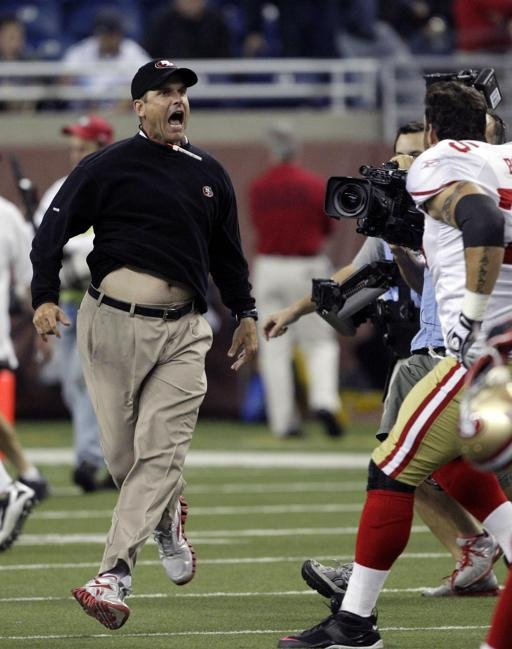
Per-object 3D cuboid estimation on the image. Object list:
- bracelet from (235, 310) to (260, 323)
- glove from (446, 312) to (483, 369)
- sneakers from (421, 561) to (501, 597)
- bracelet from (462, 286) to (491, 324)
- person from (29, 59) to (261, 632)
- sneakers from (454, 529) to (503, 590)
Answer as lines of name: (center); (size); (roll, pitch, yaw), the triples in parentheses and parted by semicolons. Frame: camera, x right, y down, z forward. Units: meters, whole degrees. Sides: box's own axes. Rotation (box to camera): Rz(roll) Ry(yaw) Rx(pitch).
bracelet: (-0.047, -0.036, 4.727); (0.068, 0.034, 0.066); (-9, -8, 23)
glove: (0.625, 0.045, 3.381); (0.090, 0.147, 0.124); (-24, 36, -31)
sneakers: (0.855, 1.083, 4.643); (0.389, 0.148, 0.115); (-1, -12, -4)
bracelet: (0.642, -0.056, 3.286); (0.101, 0.089, 0.099); (9, 7, 30)
person: (-0.467, 0.151, 4.272); (0.726, 2.214, 1.369); (3, 21, 12)
sneakers: (0.900, 0.971, 4.587); (0.296, 0.130, 0.109); (-42, 7, -34)
